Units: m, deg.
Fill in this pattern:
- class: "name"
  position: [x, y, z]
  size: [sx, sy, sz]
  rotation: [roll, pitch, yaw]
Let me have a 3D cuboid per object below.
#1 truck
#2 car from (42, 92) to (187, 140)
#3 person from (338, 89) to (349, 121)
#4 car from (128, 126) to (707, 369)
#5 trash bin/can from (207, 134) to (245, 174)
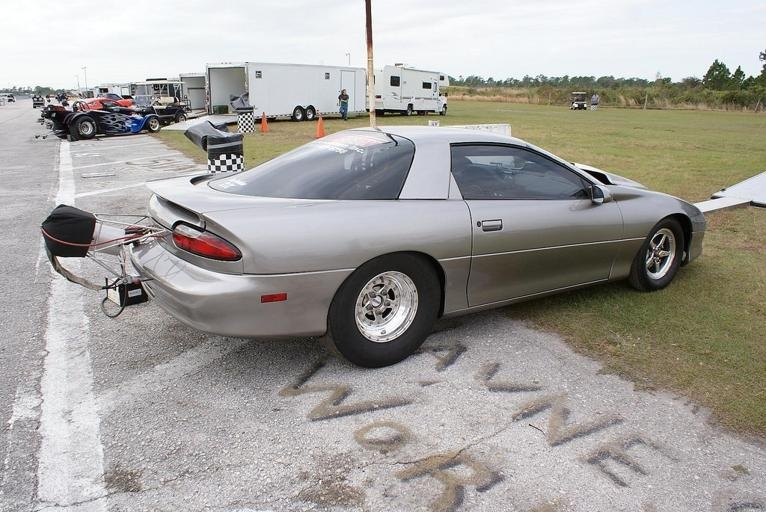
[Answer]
- class: "truck"
  position: [2.050, -12.367, 32.759]
  size: [2.994, 3.476, 7.986]
  rotation: [15, 24, 39]
- class: "car"
  position: [-13.609, -6.690, 21.029]
  size: [1.765, 1.822, 4.324]
  rotation: [16, 28, 42]
- class: "person"
  position: [-2.579, -9.845, 28.202]
  size: [0.707, 1.851, 1.297]
  rotation: [-6, 21, -3]
- class: "car"
  position: [0.574, -0.364, 4.179]
  size: [4.724, 1.215, 2.151]
  rotation: [-10, 20, -23]
- class: "trash bin/can"
  position: [-2.705, -1.707, 7.168]
  size: [0.597, 0.573, 0.561]
  rotation: [-8, 24, -26]
